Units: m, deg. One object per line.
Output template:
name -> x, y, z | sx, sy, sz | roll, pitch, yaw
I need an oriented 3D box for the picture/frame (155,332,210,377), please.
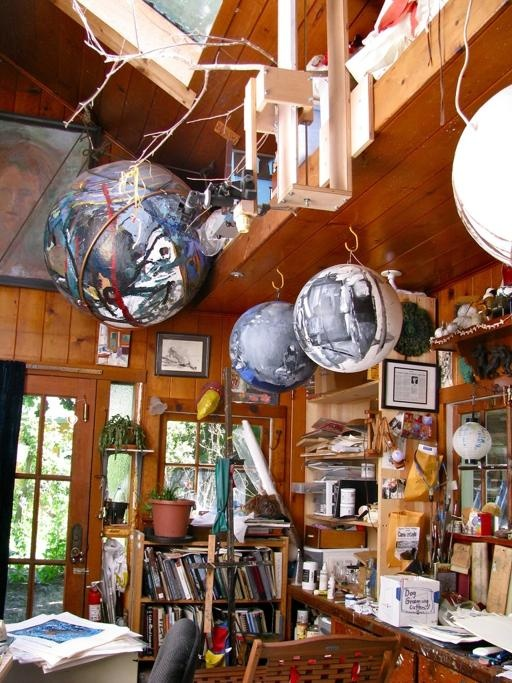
picture/frame -> -0.563, 0.102, 3.983 | 0.340, 0.282, 0.024 | 1, -3, -14

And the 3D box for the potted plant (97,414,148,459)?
potted plant -> -0.920, 0.636, 3.691 | 0.258, 0.187, 0.249 | -5, -12, 6

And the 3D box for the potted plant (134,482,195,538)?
potted plant -> -0.550, 1.076, 3.458 | 0.300, 0.303, 0.303 | -4, -20, 7

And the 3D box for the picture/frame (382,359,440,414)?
picture/frame -> 0.901, 0.272, 3.191 | 0.346, 0.292, 0.026 | 4, -12, -19

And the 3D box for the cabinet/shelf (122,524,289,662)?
cabinet/shelf -> -0.309, 1.695, 3.454 | 1.022, 0.954, 0.375 | 3, 2, 24

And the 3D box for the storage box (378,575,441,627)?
storage box -> 0.728, 1.248, 2.608 | 0.279, 0.201, 0.289 | -3, -20, 24

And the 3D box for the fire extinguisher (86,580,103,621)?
fire extinguisher -> -1.038, 1.671, 3.468 | 0.104, 0.235, 0.149 | 5, -11, -14
